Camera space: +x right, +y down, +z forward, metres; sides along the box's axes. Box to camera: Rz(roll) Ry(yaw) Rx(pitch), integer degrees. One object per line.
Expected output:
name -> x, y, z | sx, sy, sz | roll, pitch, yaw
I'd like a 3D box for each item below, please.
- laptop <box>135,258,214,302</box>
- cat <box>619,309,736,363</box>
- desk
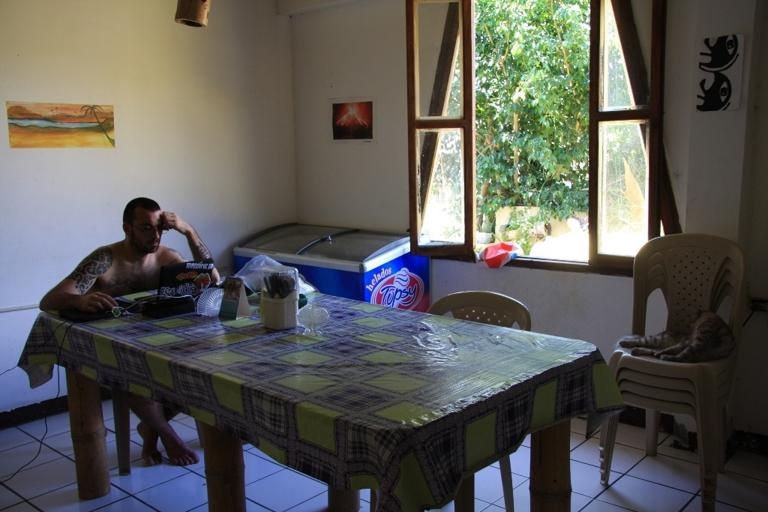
laptop -> -1.243, 0.135, 3.432 | 0.354, 0.243, 0.248 | -7, 27, -45
cat -> 1.840, 0.533, 3.338 | 0.471, 0.190, 0.342 | -5, 5, -28
desk -> -0.329, 0.778, 2.854 | 2.602, 0.722, 1.247 | 7, 17, 25
